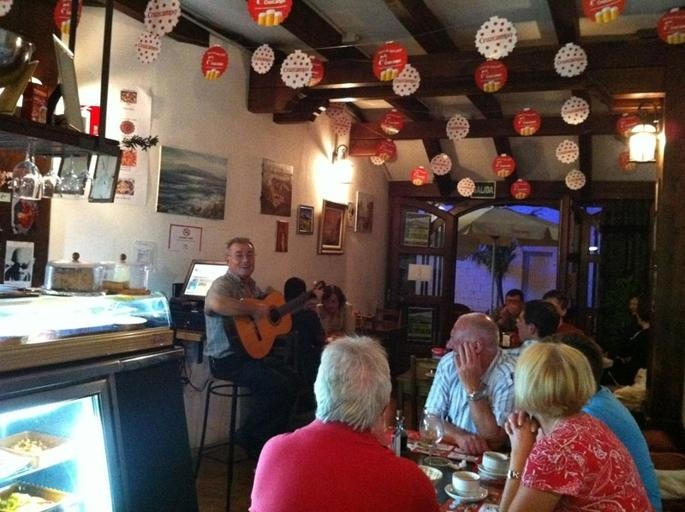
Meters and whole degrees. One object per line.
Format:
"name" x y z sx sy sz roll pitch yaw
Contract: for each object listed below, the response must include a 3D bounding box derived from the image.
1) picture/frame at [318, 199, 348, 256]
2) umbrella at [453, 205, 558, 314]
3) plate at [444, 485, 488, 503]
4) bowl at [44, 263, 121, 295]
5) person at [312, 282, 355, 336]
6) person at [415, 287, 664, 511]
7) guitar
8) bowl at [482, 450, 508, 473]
"picture/frame" -0.122 -0.380 6.689 0.095 0.661 0.731 5 -2 23
"umbrella" 3.023 -0.031 9.446 1.997 1.766 1.852 -2 -9 22
"plate" 0.525 0.989 2.121 0.187 0.039 0.107 3 -2 5
"bowl" -1.166 0.096 2.240 0.167 0.089 0.168 2 -3 0
"person" -0.059 0.631 5.900 0.454 0.765 0.506 -3 -6 1
"person" 1.168 0.679 2.846 1.378 1.070 0.972 0 -1 -39
"guitar" -0.592 0.581 4.463 0.103 0.335 0.777 -18 2 25
"bowl" 0.713 0.946 2.352 0.079 0.052 0.081 -1 5 0
